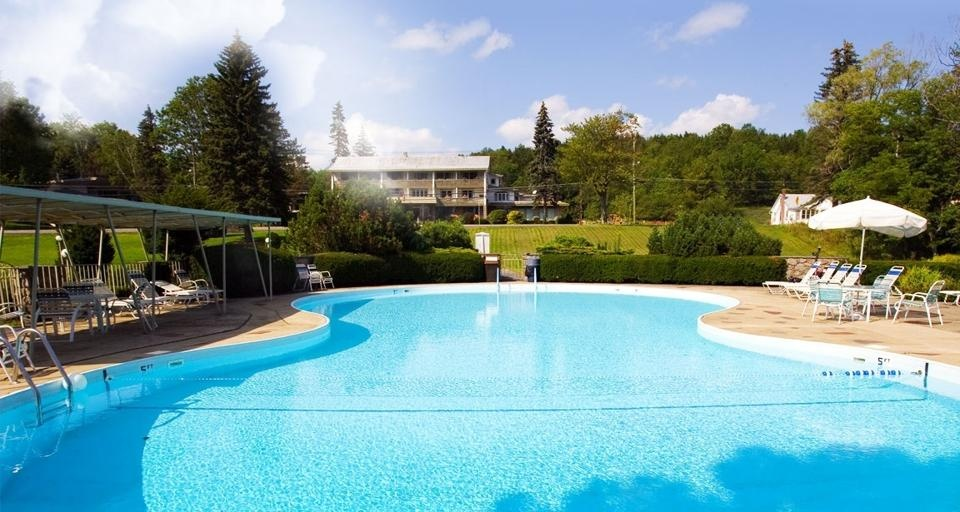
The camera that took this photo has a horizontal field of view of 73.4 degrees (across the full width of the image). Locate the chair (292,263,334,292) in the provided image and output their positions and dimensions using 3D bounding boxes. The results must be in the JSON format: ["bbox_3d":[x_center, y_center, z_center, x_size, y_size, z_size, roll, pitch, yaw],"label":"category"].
[{"bbox_3d":[-11.667,1.447,45.189,2.353,1.902,1.748,-6,-7,40],"label":"chair"}]
